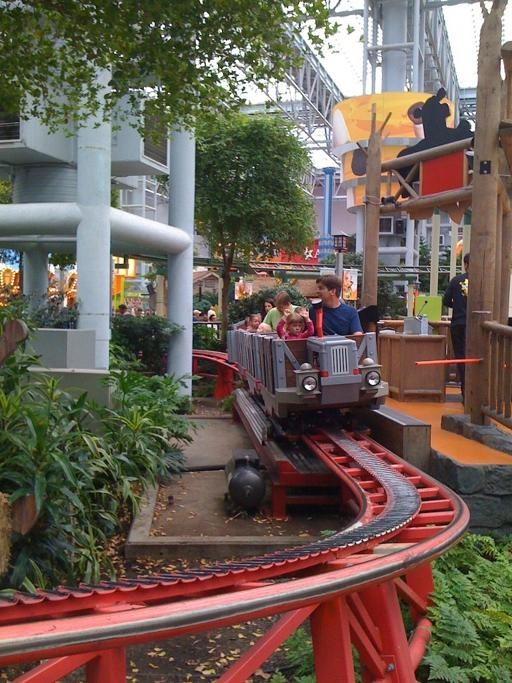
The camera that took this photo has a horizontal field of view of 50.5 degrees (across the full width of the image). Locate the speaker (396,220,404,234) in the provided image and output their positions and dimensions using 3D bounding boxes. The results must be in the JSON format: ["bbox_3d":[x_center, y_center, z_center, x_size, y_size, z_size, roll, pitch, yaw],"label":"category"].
[{"bbox_3d":[14.439,-11.335,54.532,0.898,1.491,0.429,1,1,8],"label":"speaker"}]

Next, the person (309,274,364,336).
[{"bbox_3d":[0.884,-0.399,5.945,0.587,0.707,1.346,1,1,3],"label":"person"}]
